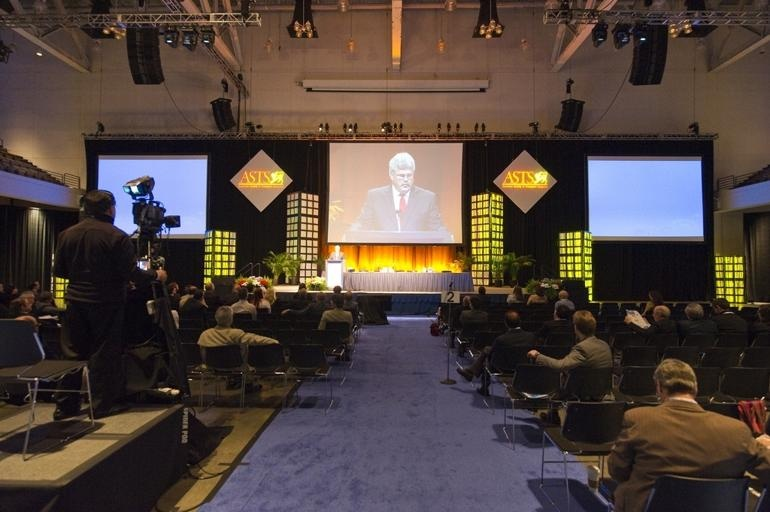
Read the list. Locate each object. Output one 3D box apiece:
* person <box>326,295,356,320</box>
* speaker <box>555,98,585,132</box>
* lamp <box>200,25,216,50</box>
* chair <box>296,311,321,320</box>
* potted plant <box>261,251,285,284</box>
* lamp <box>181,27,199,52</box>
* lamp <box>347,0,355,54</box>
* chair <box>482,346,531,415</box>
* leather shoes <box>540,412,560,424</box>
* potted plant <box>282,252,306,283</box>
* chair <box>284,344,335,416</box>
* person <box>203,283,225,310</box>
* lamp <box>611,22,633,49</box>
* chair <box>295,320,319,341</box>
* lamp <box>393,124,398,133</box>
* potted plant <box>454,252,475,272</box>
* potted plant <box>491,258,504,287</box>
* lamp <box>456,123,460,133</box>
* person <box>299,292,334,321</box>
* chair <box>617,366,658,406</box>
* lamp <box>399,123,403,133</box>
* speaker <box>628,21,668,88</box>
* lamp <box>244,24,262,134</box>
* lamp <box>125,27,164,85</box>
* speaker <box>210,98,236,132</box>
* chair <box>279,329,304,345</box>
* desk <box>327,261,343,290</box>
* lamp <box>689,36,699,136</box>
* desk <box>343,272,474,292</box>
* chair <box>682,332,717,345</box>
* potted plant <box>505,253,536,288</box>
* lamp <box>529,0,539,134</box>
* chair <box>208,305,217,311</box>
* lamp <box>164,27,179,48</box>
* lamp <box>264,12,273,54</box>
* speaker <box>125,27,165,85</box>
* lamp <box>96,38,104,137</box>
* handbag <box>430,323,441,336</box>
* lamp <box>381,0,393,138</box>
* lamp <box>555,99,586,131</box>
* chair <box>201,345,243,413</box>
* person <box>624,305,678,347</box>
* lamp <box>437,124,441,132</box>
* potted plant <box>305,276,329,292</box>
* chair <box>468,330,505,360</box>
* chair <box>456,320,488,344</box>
[{"bbox_3d":[-1.126,1.331,17.095,0.725,0.661,0.370,2,-1,-6],"label":"person"},{"bbox_3d":[7.259,-5.473,26.296,0.709,1.150,1.019,1,-3,-33],"label":"speaker"},{"bbox_3d":[-5.912,-7.184,22.064,0.530,0.711,0.659,1,8,2],"label":"lamp"},{"bbox_3d":[-1.910,1.493,17.192,0.526,0.212,0.306,-1,-3,11],"label":"chair"},{"bbox_3d":[-4.127,0.484,25.749,1.023,1.178,1.030,4,-1,-42],"label":"potted plant"},{"bbox_3d":[-6.391,-7.137,22.031,0.474,0.787,0.579,0,-3,-20],"label":"lamp"},{"bbox_3d":[-1.362,-9.143,26.846,0.310,1.869,1.140,-1,-3,-3],"label":"lamp"},{"bbox_3d":[2.543,2.536,14.694,1.045,1.808,1.267,1,4,0],"label":"chair"},{"bbox_3d":[3.474,3.412,14.146,0.450,0.197,0.215,-1,-5,20],"label":"leather shoes"},{"bbox_3d":[-3.658,0.482,25.669,0.978,1.238,0.932,1,-3,-11],"label":"potted plant"},{"bbox_3d":[-1.684,2.754,15.180,1.101,1.483,1.150,2,-4,-15],"label":"chair"},{"bbox_3d":[-5.055,1.218,19.842,0.631,1.057,0.612,1,2,14],"label":"person"},{"bbox_3d":[7.785,-7.247,22.326,0.639,0.901,0.887,0,-1,7],"label":"lamp"},{"bbox_3d":[-1.868,1.787,15.938,0.477,0.689,0.496,1,1,-1],"label":"chair"},{"bbox_3d":[0.432,-5.113,26.964,0.210,0.444,0.435,-1,-3,1],"label":"lamp"},{"bbox_3d":[3.089,0.232,26.121,0.740,0.839,0.687,2,-8,-3],"label":"potted plant"},{"bbox_3d":[4.208,0.546,25.133,0.487,1.107,0.363,-1,-3,2],"label":"potted plant"},{"bbox_3d":[2.895,-5.065,26.694,0.173,0.310,0.190,-3,19,4],"label":"lamp"},{"bbox_3d":[-1.808,1.341,17.632,0.777,0.520,0.753,1,-5,-12],"label":"person"},{"bbox_3d":[5.160,2.718,14.057,0.772,1.114,0.823,0,-3,7],"label":"chair"},{"bbox_3d":[0.622,-5.164,27.017,0.156,0.463,0.428,-1,-3,-1],"label":"lamp"},{"bbox_3d":[9.212,-7.002,23.462,1.036,1.633,1.327,-1,-3,7],"label":"speaker"},{"bbox_3d":[-5.466,-7.200,27.534,0.606,4.190,0.230,-2,-3,18],"label":"lamp"},{"bbox_3d":[-8.136,-6.826,22.722,1.130,1.588,1.584,0,-3,-20],"label":"lamp"},{"bbox_3d":[-6.399,-5.689,26.791,0.943,1.461,1.267,0,-3,-12],"label":"speaker"},{"bbox_3d":[-2.148,1.866,15.444,0.488,0.337,0.348,0,4,7],"label":"chair"},{"bbox_3d":[-1.830,0.658,24.581,0.642,0.998,0.452,0,-3,-6],"label":"desk"},{"bbox_3d":[12.274,-6.573,26.742,0.395,3.774,1.029,-2,-3,25],"label":"lamp"},{"bbox_3d":[0.780,0.950,24.700,4.603,0.746,0.388,-1,-3,-5],"label":"desk"},{"bbox_3d":[7.045,1.877,15.005,0.802,0.268,0.243,0,-3,-20],"label":"chair"},{"bbox_3d":[4.964,0.548,26.103,1.304,1.339,1.340,-5,-6,42],"label":"potted plant"},{"bbox_3d":[5.945,-7.535,27.170,0.329,4.888,0.263,-1,-3,11],"label":"lamp"},{"bbox_3d":[-4.797,1.477,18.735,0.166,0.174,0.178,0,0,-40],"label":"chair"},{"bbox_3d":[-6.999,-7.085,21.892,0.441,0.596,0.616,2,7,2],"label":"lamp"},{"bbox_3d":[-4.755,-9.026,27.396,0.371,1.490,0.305,-1,-3,0],"label":"lamp"},{"bbox_3d":[-8.149,-6.826,22.724,1.110,1.588,1.595,0,-3,-20],"label":"speaker"},{"bbox_3d":[-11.513,-6.701,27.167,0.339,3.905,0.794,0,-3,-23],"label":"lamp"},{"bbox_3d":[1.471,2.195,19.941,0.315,0.310,0.322,1,-6,-6],"label":"handbag"},{"bbox_3d":[0.014,-7.344,26.895,0.453,5.142,1.035,-1,-3,-1],"label":"lamp"},{"bbox_3d":[7.239,-5.472,26.306,1.050,1.150,0.710,-4,-4,45],"label":"lamp"},{"bbox_3d":[-3.628,2.651,15.056,0.885,1.367,1.383,0,-3,-14],"label":"chair"},{"bbox_3d":[6.114,1.620,15.617,0.734,0.777,1.136,-1,6,-2],"label":"person"},{"bbox_3d":[2.175,-5.172,27.025,0.145,0.397,0.413,-1,-3,9],"label":"lamp"},{"bbox_3d":[-2.400,1.023,23.641,0.643,0.448,0.650,1,-7,-1],"label":"potted plant"},{"bbox_3d":[2.392,2.075,15.756,0.592,0.885,0.646,0,3,3],"label":"chair"},{"bbox_3d":[2.093,1.862,16.231,0.519,0.726,0.549,1,1,3],"label":"chair"}]
